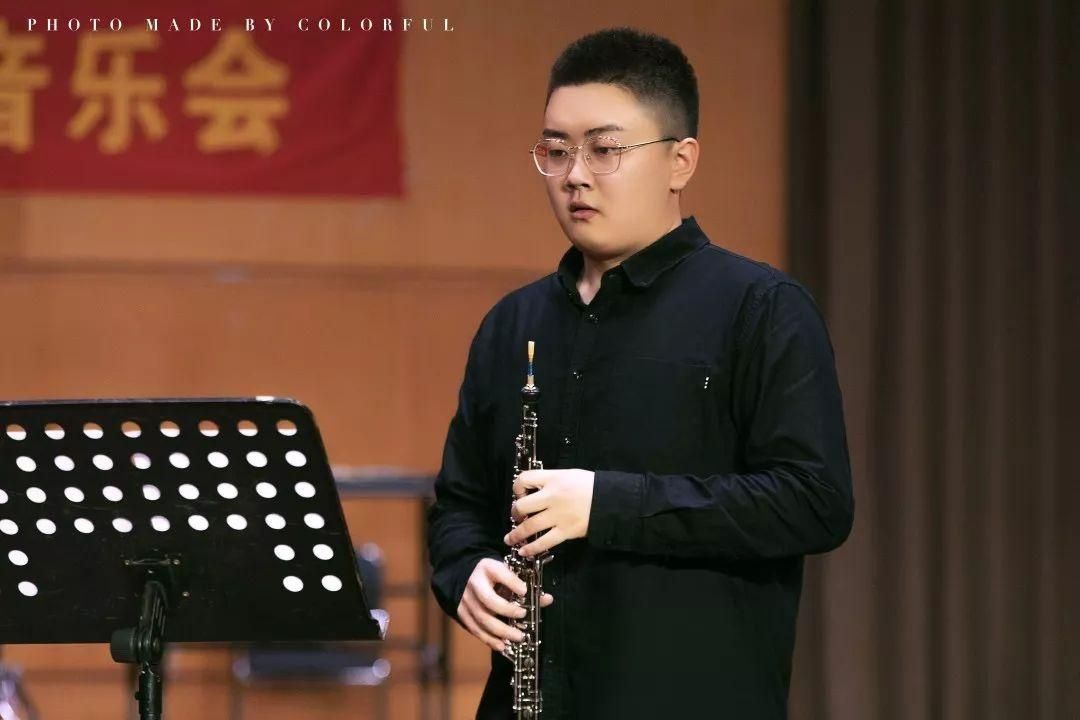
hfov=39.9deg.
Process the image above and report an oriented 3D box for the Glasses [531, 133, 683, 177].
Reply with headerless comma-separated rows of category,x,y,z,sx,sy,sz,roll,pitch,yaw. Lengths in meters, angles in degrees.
Glasses,0.126,-0.587,4.253,0.200,0.063,0.205,-1,-2,26
